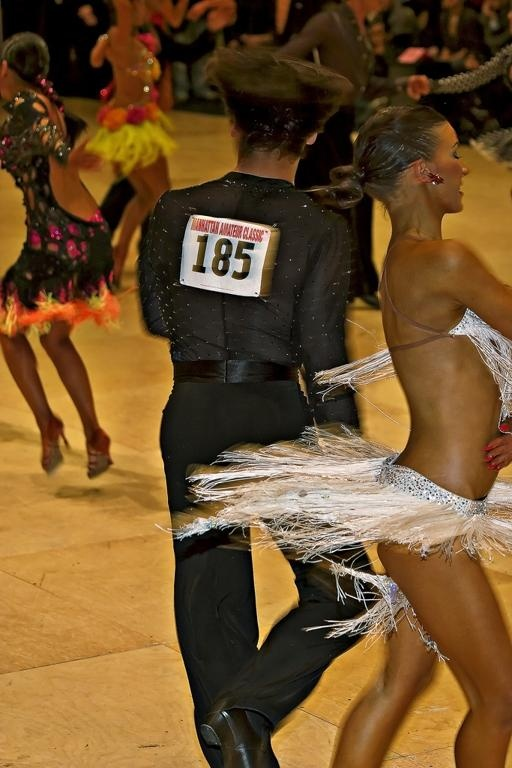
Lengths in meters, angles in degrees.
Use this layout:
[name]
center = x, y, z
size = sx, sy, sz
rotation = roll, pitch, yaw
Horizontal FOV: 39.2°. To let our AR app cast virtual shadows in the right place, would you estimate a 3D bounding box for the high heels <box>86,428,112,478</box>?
[high heels]
center = -0.839, 0.380, 3.864
size = 0.139, 0.282, 0.104
rotation = 4, 9, 1
